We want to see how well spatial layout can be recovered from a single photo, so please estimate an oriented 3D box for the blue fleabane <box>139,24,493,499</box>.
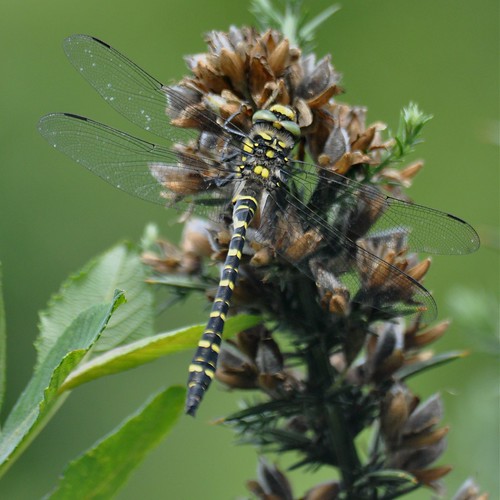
[{"bbox_3d":[0.105,0.008,0.861,0.484,0.377,0.561,10,-73,-4],"label":"blue fleabane"}]
